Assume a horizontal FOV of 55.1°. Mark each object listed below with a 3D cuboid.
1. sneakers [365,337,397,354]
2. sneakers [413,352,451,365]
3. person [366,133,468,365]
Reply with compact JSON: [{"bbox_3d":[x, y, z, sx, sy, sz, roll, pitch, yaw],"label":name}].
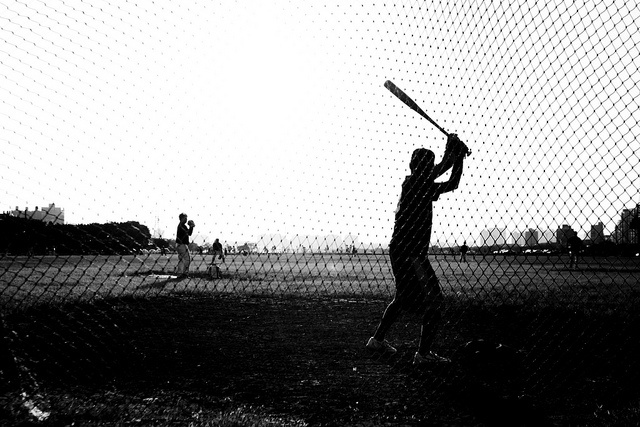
[{"bbox_3d":[0.779,1.708,8.010,0.443,0.215,0.175,8,1,-8],"label":"sneakers"},{"bbox_3d":[1.354,1.800,7.619,0.492,0.222,0.179,-1,-2,-6],"label":"sneakers"},{"bbox_3d":[1.278,0.439,7.793,1.070,2.830,0.647,3,-11,18],"label":"person"}]
